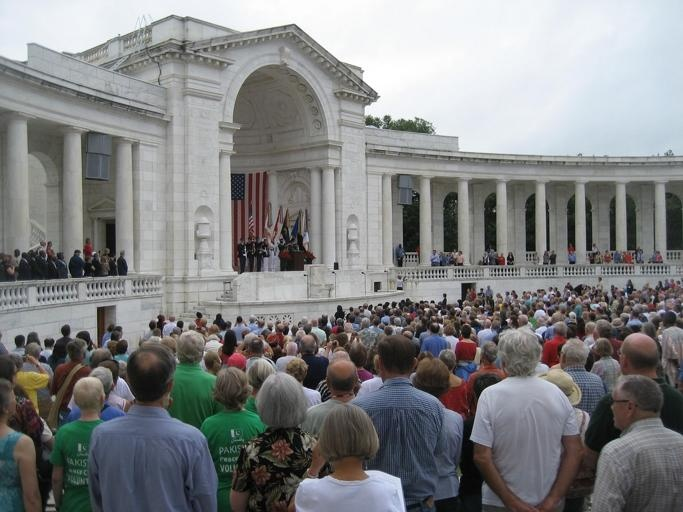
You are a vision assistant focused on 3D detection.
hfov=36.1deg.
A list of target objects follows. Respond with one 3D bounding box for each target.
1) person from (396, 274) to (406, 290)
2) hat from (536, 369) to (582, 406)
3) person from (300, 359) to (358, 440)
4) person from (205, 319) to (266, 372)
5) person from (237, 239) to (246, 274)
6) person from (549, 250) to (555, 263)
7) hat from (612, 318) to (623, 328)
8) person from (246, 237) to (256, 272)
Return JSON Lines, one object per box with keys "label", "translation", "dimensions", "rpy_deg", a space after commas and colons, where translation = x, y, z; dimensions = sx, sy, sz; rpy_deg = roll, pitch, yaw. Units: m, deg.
{"label": "person", "translation": [3.336, 1.408, 58.384], "dimensions": [0.402, 0.834, 0.830], "rpy_deg": [0, -6, -20]}
{"label": "hat", "translation": [4.865, 3.006, 23.260], "dimensions": [0.846, 0.307, 0.778], "rpy_deg": [35, 23, 3]}
{"label": "person", "translation": [-0.056, 3.015, 22.680], "dimensions": [1.640, 1.558, 0.842], "rpy_deg": [-4, 22, -12]}
{"label": "person", "translation": [-2.547, 2.360, 27.021], "dimensions": [0.632, 1.170, 2.147], "rpy_deg": [2, -4, -15]}
{"label": "person", "translation": [-4.852, 0.004, 51.900], "dimensions": [0.440, 1.580, 0.843], "rpy_deg": [-2, -5, -5]}
{"label": "person", "translation": [12.904, 0.117, 63.947], "dimensions": [0.332, 0.707, 1.085], "rpy_deg": [-4, -6, 13]}
{"label": "hat", "translation": [7.927, 1.901, 30.028], "dimensions": [0.330, 0.288, 0.517], "rpy_deg": [-4, -6, 13]}
{"label": "person", "translation": [-4.423, -0.112, 52.071], "dimensions": [0.420, 1.648, 0.816], "rpy_deg": [-2, -5, -5]}
